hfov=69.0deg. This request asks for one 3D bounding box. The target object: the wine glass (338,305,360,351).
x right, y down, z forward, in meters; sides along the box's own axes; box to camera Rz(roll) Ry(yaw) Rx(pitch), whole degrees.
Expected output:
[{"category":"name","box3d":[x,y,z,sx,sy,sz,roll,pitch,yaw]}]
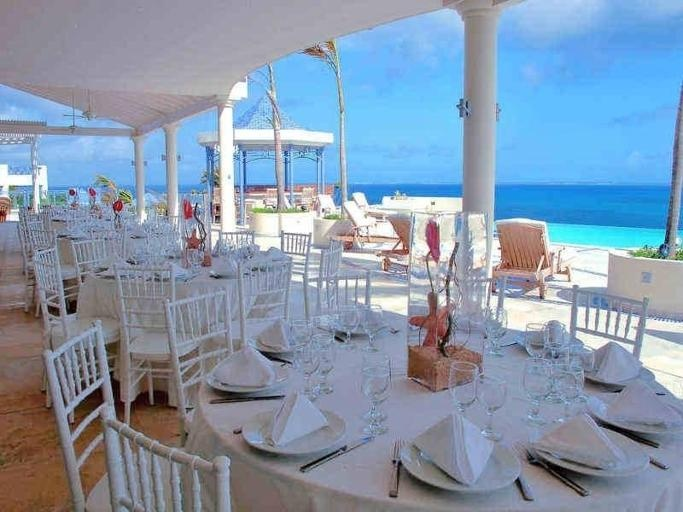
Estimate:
[{"category":"wine glass","box3d":[0.034,0.333,2.485,0.098,0.189,0.221,-1,11,0]}]

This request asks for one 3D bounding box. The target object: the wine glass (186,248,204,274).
[{"category":"wine glass","box3d":[-1.234,0.053,4.227,0.164,0.208,0.170,2,6,27]}]

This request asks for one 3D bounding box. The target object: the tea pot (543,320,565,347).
[{"category":"tea pot","box3d":[0.972,0.348,2.253,0.101,0.132,0.115,0,0,-1]}]

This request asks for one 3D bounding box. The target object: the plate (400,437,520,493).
[{"category":"plate","box3d":[0.360,0.643,1.519,0.359,0.055,0.171,0,11,4]}]

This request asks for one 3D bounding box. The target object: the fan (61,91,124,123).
[{"category":"fan","box3d":[-6.240,-3.658,12.304,1.664,0.634,1.681,26,24,38]}]

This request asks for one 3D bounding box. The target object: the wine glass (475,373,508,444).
[{"category":"wine glass","box3d":[0.499,0.499,1.705,0.091,0.246,0.113,6,8,27]}]

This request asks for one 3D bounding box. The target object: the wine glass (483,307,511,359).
[{"category":"wine glass","box3d":[0.705,0.351,2.295,0.136,0.241,0.129,4,-3,-42]}]

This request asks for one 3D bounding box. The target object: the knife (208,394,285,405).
[{"category":"knife","box3d":[-0.371,0.568,1.953,0.278,0.028,0.033,-4,9,-3]}]

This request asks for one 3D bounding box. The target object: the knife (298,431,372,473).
[{"category":"knife","box3d":[-0.031,0.647,1.619,0.315,0.016,0.045,-10,24,-40]}]

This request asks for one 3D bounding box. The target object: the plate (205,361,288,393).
[{"category":"plate","box3d":[-0.391,0.487,2.085,0.243,0.113,0.219,-1,6,-30]}]

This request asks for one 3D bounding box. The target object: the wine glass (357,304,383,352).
[{"category":"wine glass","box3d":[0.142,0.340,2.469,0.107,0.204,0.282,0,11,3]}]

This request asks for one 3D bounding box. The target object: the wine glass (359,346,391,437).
[{"category":"wine glass","box3d":[0.111,0.477,1.739,0.095,0.281,0.108,0,9,-11]}]

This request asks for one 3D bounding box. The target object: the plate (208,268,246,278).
[{"category":"plate","box3d":[-0.926,0.142,3.905,0.368,0.068,0.099,7,14,32]}]
